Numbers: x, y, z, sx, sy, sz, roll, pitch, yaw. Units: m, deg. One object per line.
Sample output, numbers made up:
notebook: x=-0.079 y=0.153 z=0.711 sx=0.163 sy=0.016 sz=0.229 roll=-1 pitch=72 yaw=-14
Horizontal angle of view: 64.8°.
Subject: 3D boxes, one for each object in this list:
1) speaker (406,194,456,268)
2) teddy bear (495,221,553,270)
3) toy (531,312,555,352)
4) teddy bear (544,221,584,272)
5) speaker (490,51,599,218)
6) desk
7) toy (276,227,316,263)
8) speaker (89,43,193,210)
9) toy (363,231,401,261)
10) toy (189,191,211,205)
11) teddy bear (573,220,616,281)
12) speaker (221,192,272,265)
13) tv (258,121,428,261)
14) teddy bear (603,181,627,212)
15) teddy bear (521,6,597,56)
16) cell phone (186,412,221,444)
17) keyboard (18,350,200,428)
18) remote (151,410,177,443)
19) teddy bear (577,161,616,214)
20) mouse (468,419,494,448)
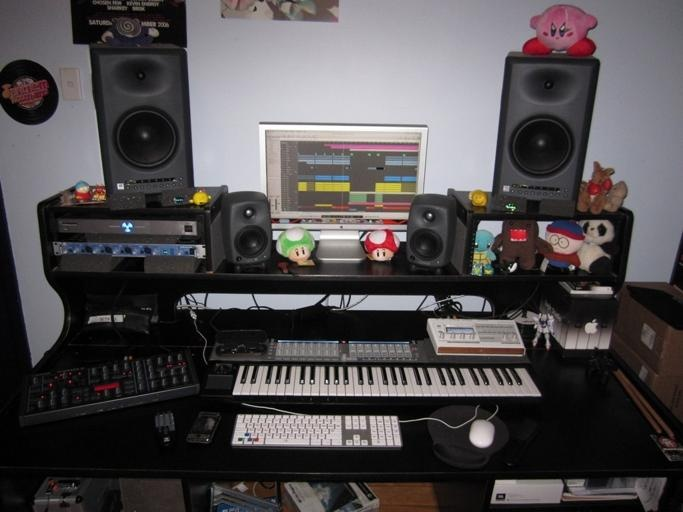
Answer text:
speaker: x=0.391 y=-0.133 z=2.403 sx=0.211 sy=0.322 sz=0.192 roll=14 pitch=39 yaw=22
teddy bear: x=0.785 y=-0.059 z=2.402 sx=0.238 sy=0.235 sz=0.135 roll=4 pitch=13 yaw=18
toy: x=0.914 y=0.345 z=2.448 sx=0.110 sy=0.156 sz=0.074 roll=6 pitch=5 yaw=35
teddy bear: x=0.976 y=-0.059 z=2.401 sx=0.169 sy=0.230 sz=0.143 roll=17 pitch=31 yaw=37
speaker: x=0.856 y=-0.535 z=2.348 sx=0.368 sy=0.653 sz=0.366 roll=7 pitch=26 yaw=16
desk: x=-0.098 y=0.251 z=2.214 sx=2.410 sy=0.917 sz=0.877 roll=1 pitch=17 yaw=-1
toy: x=-0.210 y=-0.031 z=2.441 sx=0.179 sy=0.157 sz=0.200 roll=-14 pitch=3 yaw=-15
speaker: x=-0.839 y=-0.520 z=2.347 sx=0.409 sy=0.636 sz=0.393 roll=-6 pitch=-3 yaw=1
toy: x=0.170 y=-0.045 z=2.450 sx=0.127 sy=0.113 sz=0.140 roll=3 pitch=-14 yaw=12
toy: x=-0.589 y=-0.246 z=2.254 sx=0.055 sy=0.045 sz=0.069 roll=-2 pitch=14 yaw=-14
teddy bear: x=1.110 y=-0.062 z=2.410 sx=0.183 sy=0.273 sz=0.143 roll=16 pitch=26 yaw=38
speaker: x=-0.407 y=-0.133 z=2.376 sx=0.204 sy=0.311 sz=0.167 roll=-8 pitch=27 yaw=-20
tv: x=-0.001 y=-0.302 z=2.415 sx=0.585 sy=0.483 sz=0.181 roll=1 pitch=19 yaw=-1
teddy bear: x=1.154 y=-0.244 z=2.330 sx=0.050 sy=0.130 sz=0.098 roll=15 pitch=16 yaw=-13
teddy bear: x=0.899 y=-0.935 z=2.227 sx=0.273 sy=0.214 sz=0.158 roll=7 pitch=18 yaw=17
cell phone: x=-0.522 y=0.657 z=2.058 sx=0.087 sy=0.016 sz=0.155 roll=4 pitch=27 yaw=3
keyboard: x=-0.931 y=0.522 z=2.160 sx=0.513 sy=0.092 sz=0.231 roll=-9 pitch=39 yaw=-17
remote: x=-0.677 y=0.648 z=2.102 sx=0.090 sy=0.060 sz=0.180 roll=0 pitch=20 yaw=-4
teddy bear: x=1.151 y=-0.348 z=2.443 sx=0.149 sy=0.087 sz=0.264 roll=5 pitch=0 yaw=29
mouse: x=0.528 y=0.668 z=2.030 sx=0.104 sy=0.071 sz=0.095 roll=3 pitch=17 yaw=7
